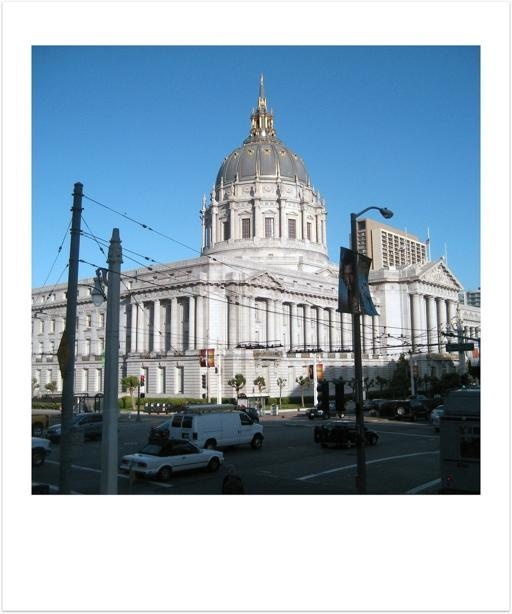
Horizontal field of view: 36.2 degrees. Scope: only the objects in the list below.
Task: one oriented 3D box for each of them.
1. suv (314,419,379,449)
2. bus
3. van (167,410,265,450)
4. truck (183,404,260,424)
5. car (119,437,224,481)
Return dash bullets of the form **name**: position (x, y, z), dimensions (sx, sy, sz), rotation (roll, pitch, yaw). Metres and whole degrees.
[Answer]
- **suv**: position (4.682, 5.987, 36.731), dimensions (3.795, 1.339, 1.853), rotation (0, -3, -31)
- **bus**: position (5.823, 3.893, 22.274), dimensions (1.129, 2.870, 0.257), rotation (-1, 1, 35)
- **van**: position (-1.696, 5.321, 34.210), dimensions (3.575, 1.374, 1.806), rotation (4, -8, -41)
- **truck**: position (-1.607, 4.869, 35.727), dimensions (1.786, 0.879, 2.435), rotation (-11, -10, 25)
- **car**: position (-2.975, 5.314, 27.720), dimensions (1.683, 1.052, 4.128), rotation (-1, 1, 37)
